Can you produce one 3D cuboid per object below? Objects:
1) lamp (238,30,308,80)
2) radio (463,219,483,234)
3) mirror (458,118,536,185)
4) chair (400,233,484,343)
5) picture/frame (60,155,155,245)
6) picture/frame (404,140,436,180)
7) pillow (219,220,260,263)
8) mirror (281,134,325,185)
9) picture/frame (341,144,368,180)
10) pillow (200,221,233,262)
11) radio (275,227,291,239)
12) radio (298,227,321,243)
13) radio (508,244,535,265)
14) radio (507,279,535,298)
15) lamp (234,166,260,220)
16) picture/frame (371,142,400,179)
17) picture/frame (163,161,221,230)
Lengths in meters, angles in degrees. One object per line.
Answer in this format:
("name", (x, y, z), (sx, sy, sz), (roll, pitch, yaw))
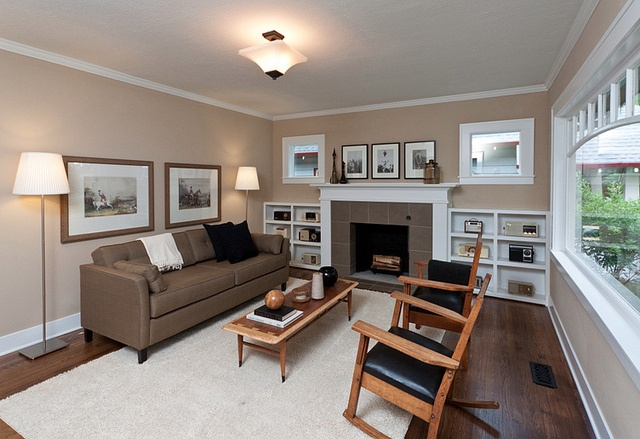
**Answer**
("lamp", (-0.471, -1.736, 4.196), (0.511, 0.468, 0.513), (1, 6, 30))
("radio", (2.277, 0.108, 6.030), (0.226, 0.210, 0.088), (0, -1, 30))
("mirror", (2.636, -1.008, 5.955), (1.057, 0.990, 0.114), (0, 1, 27))
("chair", (1.417, 0.753, 5.128), (1.096, 1.556, 1.262), (3, 3, 23))
("picture/frame", (-2.722, -0.245, 5.116), (0.049, 1.000, 1.193), (3, 4, 36))
("picture/frame", (1.596, -0.956, 6.434), (0.675, 0.812, 0.055), (1, 1, 29))
("pillow", (-1.173, 0.334, 5.769), (0.159, 0.487, 0.538), (-31, -9, 38))
("mirror", (-0.279, -1.121, 7.416), (1.033, 1.014, 0.110), (1, 1, 26))
("picture/frame", (0.604, -0.992, 6.969), (0.643, 0.770, 0.032), (0, 2, 27))
("pillow", (-1.460, 0.309, 5.756), (0.516, 0.467, 0.163), (-4, -9, 7))
("radio", (-0.717, 0.223, 7.399), (0.266, 0.189, 0.190), (3, 4, 34))
("radio", (-0.152, 0.284, 7.274), (0.473, 0.234, 0.245), (1, 6, 26))
("radio", (2.815, 0.485, 5.707), (0.399, 0.322, 0.218), (0, -4, 33))
("radio", (2.819, 0.984, 5.702), (0.345, 0.182, 0.218), (6, -4, 21))
("lamp", (-1.244, -0.443, 6.823), (0.377, 0.919, 0.573), (-3, 6, -12))
("picture/frame", (1.096, -0.984, 6.730), (0.644, 0.764, 0.030), (0, -1, 26))
("picture/frame", (-1.948, -0.354, 6.057), (0.045, 0.947, 1.025), (6, 8, 34))
